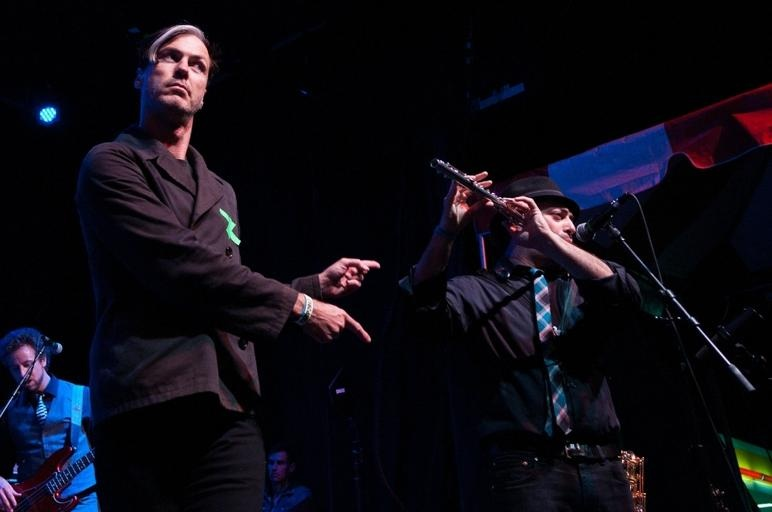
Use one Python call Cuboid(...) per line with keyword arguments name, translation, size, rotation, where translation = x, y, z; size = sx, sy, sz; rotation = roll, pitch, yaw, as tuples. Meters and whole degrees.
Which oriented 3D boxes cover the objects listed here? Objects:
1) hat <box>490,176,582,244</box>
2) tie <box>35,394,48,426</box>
Cuboid(name="hat", translation=(1.276, -0.513, 5.684), size=(0.739, 0.287, 0.626), rotation=(-11, -28, 22))
Cuboid(name="tie", translation=(-3.892, 1.723, 7.356), size=(0.123, 0.315, 0.068), rotation=(11, -30, -30))
